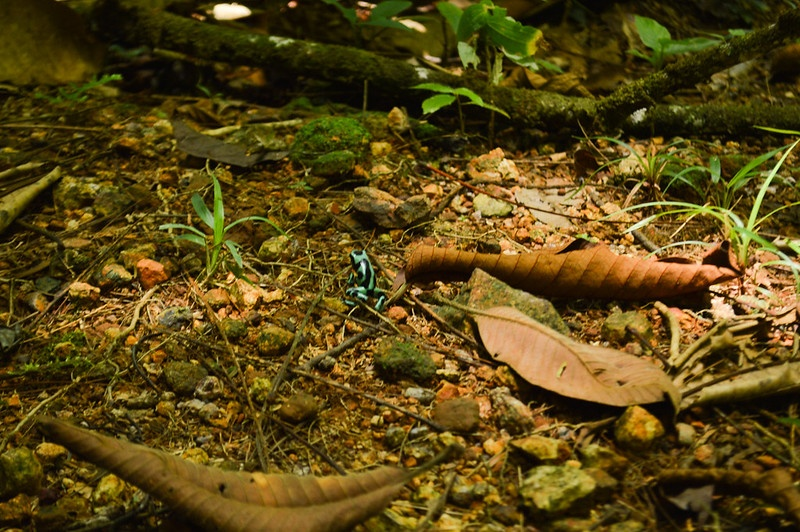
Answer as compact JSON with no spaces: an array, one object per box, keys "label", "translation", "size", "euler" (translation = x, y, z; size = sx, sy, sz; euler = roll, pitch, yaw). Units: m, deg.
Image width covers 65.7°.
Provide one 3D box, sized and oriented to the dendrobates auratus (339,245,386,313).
[{"label":"dendrobates auratus","translation":[-0.206,0.067,3.620],"size":[0.285,0.172,0.428],"euler":[-2,34,-17]}]
